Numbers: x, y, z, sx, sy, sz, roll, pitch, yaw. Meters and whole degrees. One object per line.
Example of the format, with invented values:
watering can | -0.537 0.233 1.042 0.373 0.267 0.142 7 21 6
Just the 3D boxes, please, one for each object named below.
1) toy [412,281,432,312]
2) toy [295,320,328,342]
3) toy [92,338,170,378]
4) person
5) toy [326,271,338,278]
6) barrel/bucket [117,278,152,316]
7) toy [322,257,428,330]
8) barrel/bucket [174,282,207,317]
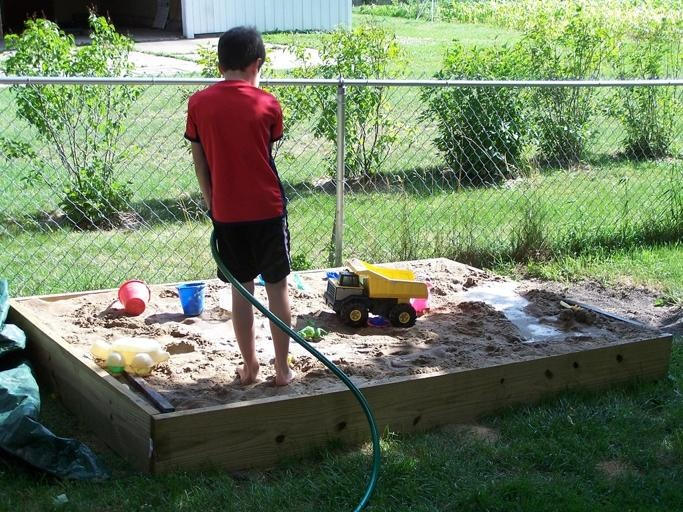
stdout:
toy | 0.614 0.309 5.366 0.183 0.228 0.227 -1 17 3
toy | -0.204 0.507 4.878 0.206 0.073 0.316 0 18 5
toy | -1.308 0.596 4.217 0.320 0.118 0.245 6 9 -3
person | -0.601 -0.265 4.054 0.561 2.051 0.511 -2 18 -3
toy | -0.087 0.150 5.772 0.069 0.044 0.053 1 0 -27
barrel/bucket | -1.530 0.290 5.092 0.234 0.212 0.265 -8 19 -18
toy | 0.195 0.266 5.046 0.709 0.433 0.413 3 9 -14
barrel/bucket | -1.113 0.311 5.137 0.223 0.218 0.226 -2 8 0
